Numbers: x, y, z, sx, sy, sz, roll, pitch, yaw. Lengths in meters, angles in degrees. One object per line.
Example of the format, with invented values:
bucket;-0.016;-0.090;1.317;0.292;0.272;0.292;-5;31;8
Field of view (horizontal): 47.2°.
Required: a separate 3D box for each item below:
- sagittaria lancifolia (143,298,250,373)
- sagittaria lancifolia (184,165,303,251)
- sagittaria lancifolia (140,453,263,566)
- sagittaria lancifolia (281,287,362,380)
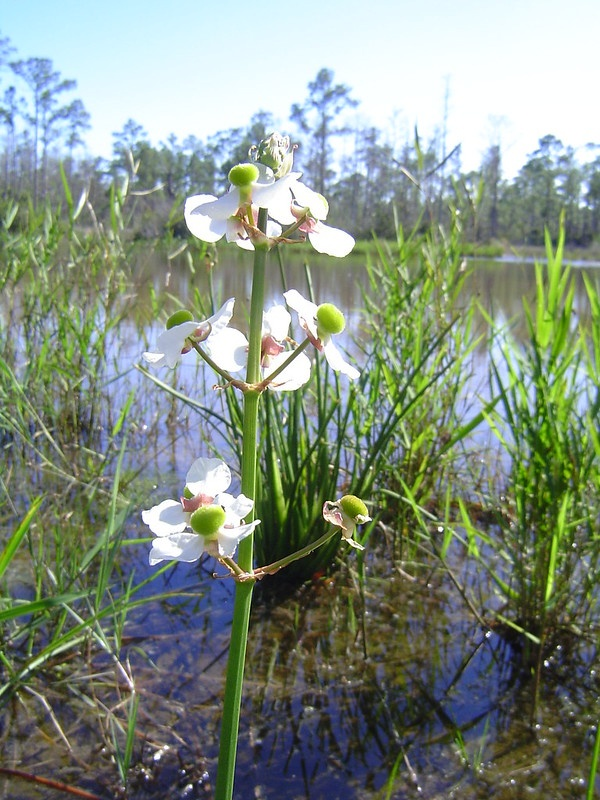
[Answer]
sagittaria lancifolia;-0.165;-0.110;1.162;0.144;0.129;0.225;4;14;11
sagittaria lancifolia;-0.093;-0.310;1.021;0.127;0.084;0.180;-2;6;40
sagittaria lancifolia;-0.154;0.177;1.109;0.169;0.174;0.212;1;14;-1
sagittaria lancifolia;0.045;-0.112;1.193;0.120;0.163;0.225;3;14;7
